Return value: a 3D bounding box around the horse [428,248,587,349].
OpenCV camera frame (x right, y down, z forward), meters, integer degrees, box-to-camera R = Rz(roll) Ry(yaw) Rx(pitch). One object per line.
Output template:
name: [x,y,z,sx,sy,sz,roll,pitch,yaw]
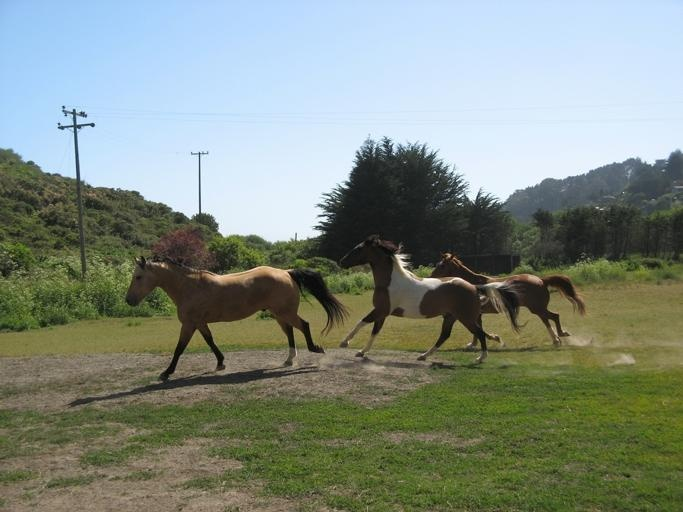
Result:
horse: [4.044,1.097,15.024,3.646,2.388,0.774,-4,14,10]
